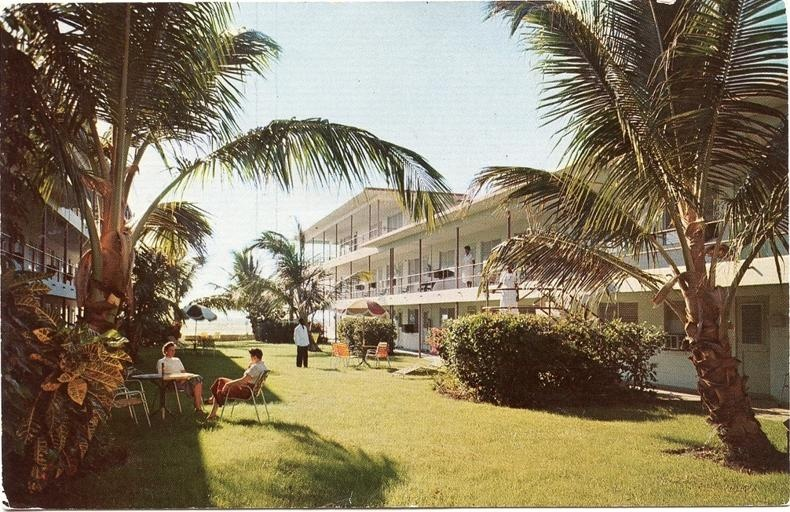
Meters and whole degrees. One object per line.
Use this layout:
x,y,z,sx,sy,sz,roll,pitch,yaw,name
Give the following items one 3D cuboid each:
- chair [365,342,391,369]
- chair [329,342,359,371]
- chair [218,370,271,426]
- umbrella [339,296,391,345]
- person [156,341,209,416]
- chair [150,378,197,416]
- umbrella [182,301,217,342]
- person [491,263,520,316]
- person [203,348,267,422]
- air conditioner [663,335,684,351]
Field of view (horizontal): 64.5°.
-0.600,3.831,24.471,0.904,1.458,1.047,-10,-16,44,chair
-2.070,3.807,23.903,0.948,1.440,0.985,1,2,38,chair
-3.366,3.179,13.982,1.165,1.642,1.091,2,-12,-5,chair
-1.545,3.042,28.724,2.091,2.105,2.133,-1,-3,35,umbrella
-4.468,2.577,12.820,0.985,1.506,1.073,-1,-2,7,person
-4.872,2.945,13.061,1.152,0.780,1.191,3,-12,-31,chair
-8.560,2.892,27.106,1.511,1.443,1.567,3,0,41,umbrella
3.572,1.204,19.967,0.695,1.519,3.023,1,4,11,person
-3.372,2.686,13.115,1.238,1.490,1.087,4,6,40,person
8.221,2.549,18.526,0.520,0.445,0.392,4,6,41,air conditioner
